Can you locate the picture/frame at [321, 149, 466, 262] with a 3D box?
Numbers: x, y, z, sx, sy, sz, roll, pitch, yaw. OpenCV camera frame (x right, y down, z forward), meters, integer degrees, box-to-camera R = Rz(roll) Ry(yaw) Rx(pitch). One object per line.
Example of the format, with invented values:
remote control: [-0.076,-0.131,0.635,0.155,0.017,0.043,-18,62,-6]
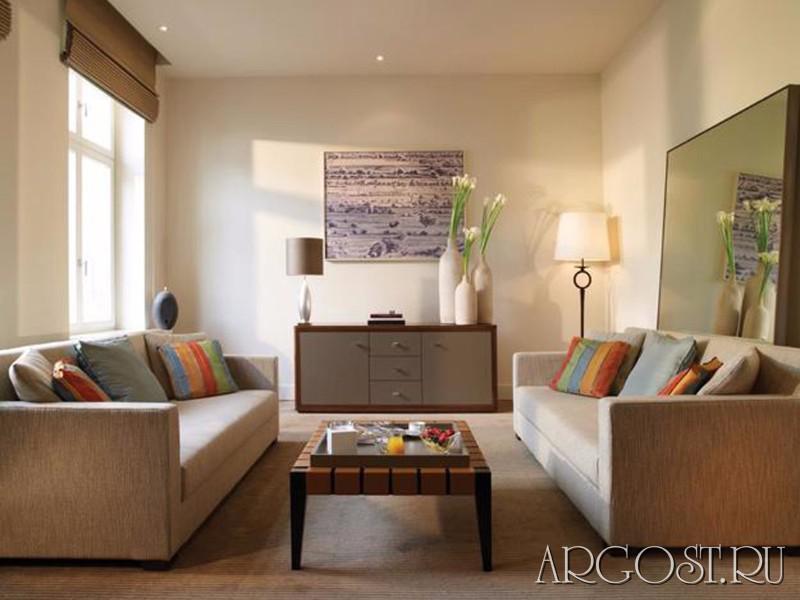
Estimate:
picture/frame: [-0.019,-0.878,5.667,1.017,0.778,0.039,0,-1,-1]

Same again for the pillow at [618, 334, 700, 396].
pillow: [1.468,0.369,3.594,0.120,0.416,0.392,29,-17,-13]

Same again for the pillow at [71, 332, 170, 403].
pillow: [-1.629,0.315,3.518,0.357,0.349,0.104,-29,3,11]

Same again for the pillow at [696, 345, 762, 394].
pillow: [1.658,0.366,3.075,0.288,0.302,0.082,-4,36,38]

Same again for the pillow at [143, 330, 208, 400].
pillow: [-1.526,0.357,4.101,0.154,0.396,0.380,-31,-21,32]

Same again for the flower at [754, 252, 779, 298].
flower: [2.089,-0.143,3.473,0.046,0.281,0.125,-3,10,-13]

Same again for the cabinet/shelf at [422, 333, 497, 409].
cabinet/shelf: [0.522,0.574,5.374,0.657,0.673,0.352,-1,12,14]

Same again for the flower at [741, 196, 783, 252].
flower: [2.061,-0.432,3.437,0.225,0.353,0.230,-3,1,-34]

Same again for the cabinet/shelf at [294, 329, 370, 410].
cabinet/shelf: [-0.529,0.591,5.416,0.688,0.686,0.494,-1,-1,12]

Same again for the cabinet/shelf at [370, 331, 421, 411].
cabinet/shelf: [-0.024,0.586,5.396,0.471,0.678,0.457,-1,3,1]

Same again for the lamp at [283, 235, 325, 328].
lamp: [-0.832,-0.180,5.429,0.301,0.761,0.499,-2,10,-8]

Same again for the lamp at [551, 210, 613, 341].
lamp: [1.682,-0.231,5.490,0.508,1.111,0.678,3,11,18]

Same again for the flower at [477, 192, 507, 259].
flower: [0.851,-0.678,5.532,0.245,0.562,0.516,1,10,9]

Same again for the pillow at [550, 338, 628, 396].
pillow: [1.208,0.386,3.995,0.104,0.366,0.380,32,-14,-27]

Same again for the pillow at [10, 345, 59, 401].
pillow: [-1.842,0.375,3.068,0.079,0.154,0.209,-17,16,-17]

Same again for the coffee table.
coffee table: [-0.028,0.918,3.589,1.076,0.524,1.478,0,10,-4]

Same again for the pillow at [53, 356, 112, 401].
pillow: [-1.581,0.395,3.086,0.067,0.230,0.221,-33,-1,7]

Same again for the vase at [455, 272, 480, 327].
vase: [0.576,-0.003,5.249,0.199,0.414,0.162,1,10,5]

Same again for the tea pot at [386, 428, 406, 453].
tea pot: [-0.018,0.722,3.076,0.076,0.110,0.076,-2,-5,0]
